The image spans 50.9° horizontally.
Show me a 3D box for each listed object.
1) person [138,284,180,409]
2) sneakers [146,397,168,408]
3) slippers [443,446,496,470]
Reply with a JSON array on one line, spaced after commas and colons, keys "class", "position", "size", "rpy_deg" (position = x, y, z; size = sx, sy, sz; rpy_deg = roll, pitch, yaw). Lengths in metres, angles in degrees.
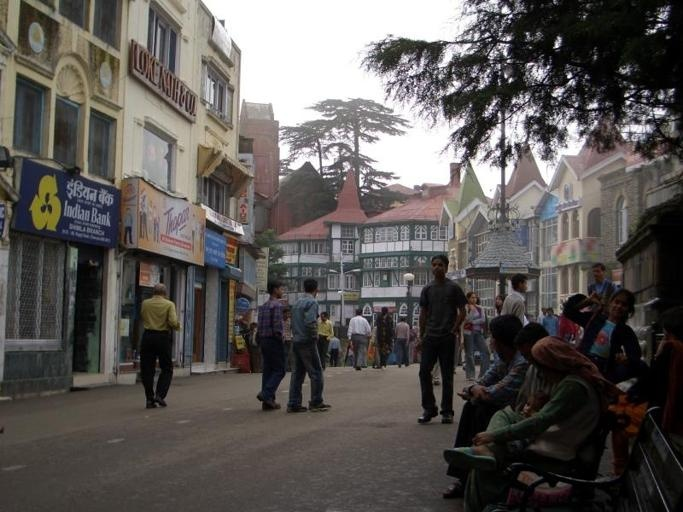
[{"class": "person", "position": [-3.522, 1.705, 13.872], "size": [0.671, 2.366, 0.851], "rpy_deg": [1, -8, -19]}, {"class": "sneakers", "position": [-3.486, 2.758, 13.484], "size": [0.379, 0.181, 0.154], "rpy_deg": [-8, -15, 32]}, {"class": "slippers", "position": [0.868, 1.374, 4.847], "size": [0.168, 0.183, 0.514], "rpy_deg": [-10, -12, 43]}]
